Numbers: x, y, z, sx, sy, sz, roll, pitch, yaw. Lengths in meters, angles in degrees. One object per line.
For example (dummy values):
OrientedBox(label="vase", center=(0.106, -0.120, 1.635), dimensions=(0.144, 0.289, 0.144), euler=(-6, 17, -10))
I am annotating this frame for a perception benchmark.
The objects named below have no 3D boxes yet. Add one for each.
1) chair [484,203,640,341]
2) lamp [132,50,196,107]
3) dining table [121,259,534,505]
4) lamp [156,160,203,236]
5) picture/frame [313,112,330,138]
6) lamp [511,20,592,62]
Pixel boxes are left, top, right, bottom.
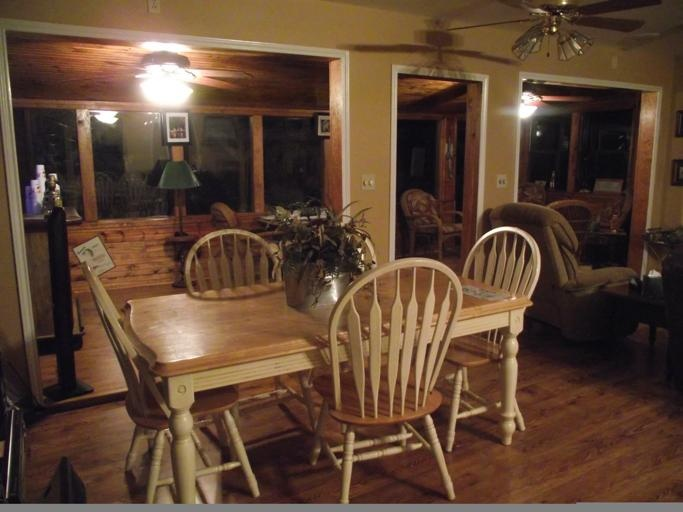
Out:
OrientedBox(label="chair", center=(1.944, 0.095, 5.169), dimensions=(1.170, 1.444, 1.469), euler=(-4, 8, -20))
OrientedBox(label="lamp", center=(-1.411, -1.437, 4.309), dimensions=(0.464, 0.308, 0.448), euler=(0, 6, -3))
OrientedBox(label="dining table", center=(-0.060, 0.734, 2.938), dimensions=(1.270, 0.537, 0.689), euler=(-7, 12, -30))
OrientedBox(label="lamp", center=(-1.975, -0.709, 6.530), dimensions=(0.436, 0.904, 0.788), euler=(-7, 15, -17))
OrientedBox(label="picture/frame", center=(-0.215, -1.774, 7.311), dimensions=(0.378, 0.358, 0.087), euler=(-2, 14, -17))
OrientedBox(label="lamp", center=(1.770, -1.836, 4.534), dimensions=(0.867, 0.250, 0.844), euler=(-7, 27, -12))
